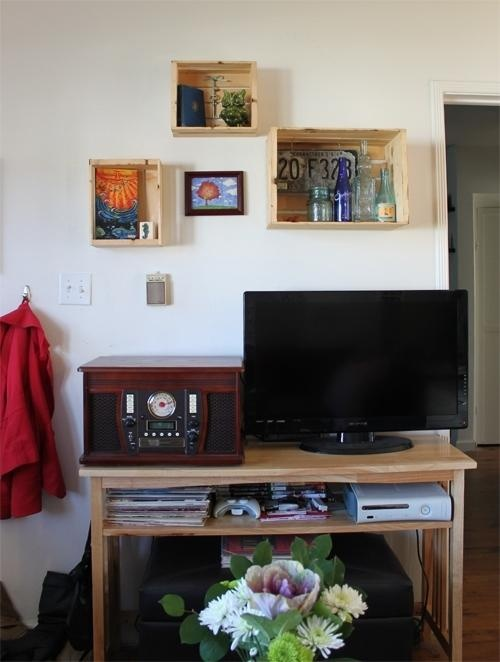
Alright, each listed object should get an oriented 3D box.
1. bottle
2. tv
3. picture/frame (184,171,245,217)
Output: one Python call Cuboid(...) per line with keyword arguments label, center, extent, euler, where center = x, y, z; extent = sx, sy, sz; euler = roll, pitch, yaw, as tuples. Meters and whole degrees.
Cuboid(label="bottle", center=(0.341, -0.495, 2.247), extent=(0.292, 0.265, 0.203), euler=(1, 8, 4))
Cuboid(label="tv", center=(0.335, 0.117, 2.199), extent=(0.581, 0.377, 0.154), euler=(-1, 4, -3))
Cuboid(label="picture/frame", center=(-0.124, -0.474, 2.295), extent=(0.168, 0.115, 0.012), euler=(-1, 4, -2))
